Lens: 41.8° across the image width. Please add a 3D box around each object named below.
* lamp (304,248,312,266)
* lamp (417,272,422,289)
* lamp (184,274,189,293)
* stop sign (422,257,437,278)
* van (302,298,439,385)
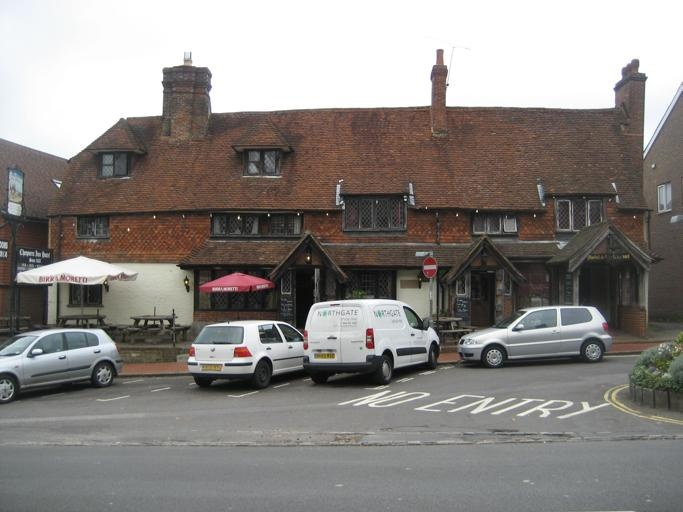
[{"bbox_3d":[-1.274,0.015,35.388,0.245,0.607,0.141,-1,9,1],"label":"lamp"},{"bbox_3d":[3.270,1.001,36.932,0.220,0.686,0.122,-1,9,3],"label":"lamp"},{"bbox_3d":[-6.538,1.196,37.876,0.342,0.682,0.155,4,11,31],"label":"lamp"},{"bbox_3d":[3.133,0.398,31.639,0.737,0.963,0.091,-6,-11,40],"label":"stop sign"},{"bbox_3d":[0.956,2.465,27.270,4.057,2.480,1.899,-7,11,-34],"label":"van"}]
